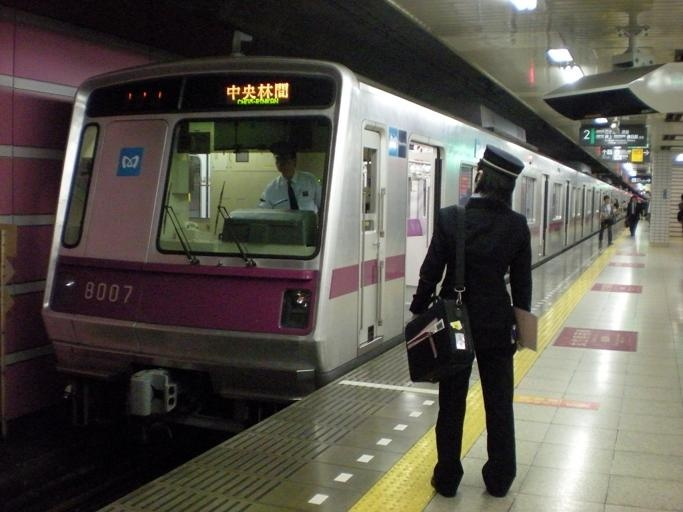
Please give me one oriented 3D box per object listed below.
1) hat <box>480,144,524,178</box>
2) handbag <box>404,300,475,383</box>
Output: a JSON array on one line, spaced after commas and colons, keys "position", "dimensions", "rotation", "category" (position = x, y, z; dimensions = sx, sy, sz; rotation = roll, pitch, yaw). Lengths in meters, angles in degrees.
[{"position": [0.910, -0.540, 2.957], "dimensions": [0.233, 0.173, 0.189], "rotation": [6, 8, 7], "category": "hat"}, {"position": [0.535, 0.489, 2.955], "dimensions": [0.173, 0.430, 0.424], "rotation": [12, -33, -25], "category": "handbag"}]
